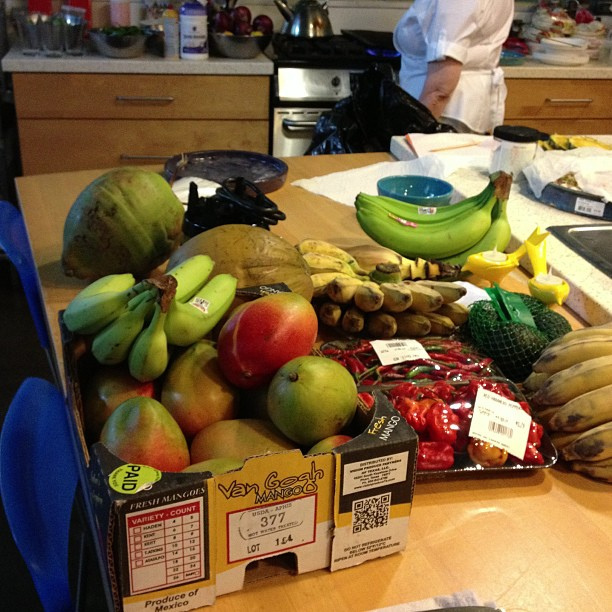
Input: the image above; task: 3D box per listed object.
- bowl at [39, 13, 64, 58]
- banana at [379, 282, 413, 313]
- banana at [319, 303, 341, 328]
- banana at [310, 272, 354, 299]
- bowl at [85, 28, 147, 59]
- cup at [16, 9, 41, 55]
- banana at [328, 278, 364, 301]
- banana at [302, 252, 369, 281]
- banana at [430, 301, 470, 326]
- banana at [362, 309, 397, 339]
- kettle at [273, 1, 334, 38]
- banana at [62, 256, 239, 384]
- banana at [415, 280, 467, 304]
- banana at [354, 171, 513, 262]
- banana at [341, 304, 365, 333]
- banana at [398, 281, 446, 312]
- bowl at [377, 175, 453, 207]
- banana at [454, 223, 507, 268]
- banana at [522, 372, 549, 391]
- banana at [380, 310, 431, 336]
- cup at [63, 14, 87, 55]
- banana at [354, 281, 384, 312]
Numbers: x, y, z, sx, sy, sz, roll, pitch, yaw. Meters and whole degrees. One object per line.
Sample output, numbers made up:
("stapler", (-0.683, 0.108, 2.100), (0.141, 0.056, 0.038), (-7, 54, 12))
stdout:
("bowl", (-1.287, -1.377, 2.799), (0.147, 0.185, 0.137), (6, 24, -3))
("banana", (0.138, -0.015, 0.845), (0.036, 0.027, 0.058), (-24, 23, -16))
("banana", (0.040, 0.017, 0.887), (0.035, 0.034, 0.042), (-6, -21, 11))
("banana", (0.043, -0.044, 0.928), (0.102, 0.026, 0.034), (-25, 71, -46))
("bowl", (-0.977, -1.364, 2.842), (0.283, 0.135, 0.188), (-5, 28, -12))
("cup", (-1.397, -1.384, 2.778), (0.119, 0.192, 0.186), (-11, 30, -21))
("banana", (0.061, -0.028, 0.864), (0.029, 0.024, 0.059), (-33, -9, 32))
("banana", (0.053, -0.072, 0.982), (0.103, 0.030, 0.051), (16, 7, -17))
("banana", (0.242, 0.016, 0.900), (0.033, 0.020, 0.061), (-2, 5, -12))
("banana", (0.115, 0.029, 0.859), (0.034, 0.031, 0.062), (0, 3, -21))
("kettle", (0.003, -1.654, 3.165), (0.336, 0.174, 0.253), (-1, 41, -9))
("banana", (-0.150, -0.010, 0.628), (0.095, 0.068, 0.146), (19, 22, 9))
("banana", (0.225, -0.026, 0.940), (0.100, 0.027, 0.031), (7, 42, 41))
("banana", (0.268, -0.213, 1.156), (0.359, 0.211, 0.121), (9, 44, 40))
("banana", (0.076, 0.021, 0.859), (0.028, 0.019, 0.051), (3, 26, -3))
("banana", (0.183, -0.016, 0.854), (0.037, 0.026, 0.074), (20, 3, -28))
("bowl", (0.277, -0.304, 1.343), (0.147, 0.062, 0.130), (-5, 24, -17))
("banana", (0.360, -0.112, 1.121), (0.075, 0.094, 0.124), (13, 30, 21))
("banana", (0.330, 0.109, 0.786), (0.029, 0.015, 0.022), (-25, -17, 22))
("banana", (0.165, 0.029, 0.861), (0.106, 0.029, 0.032), (8, 58, 26))
("cup", (-1.206, -1.423, 2.865), (0.122, 0.190, 0.257), (-9, 29, -18))
("banana", (0.096, -0.014, 0.836), (0.041, 0.028, 0.050), (2, 6, -4))
